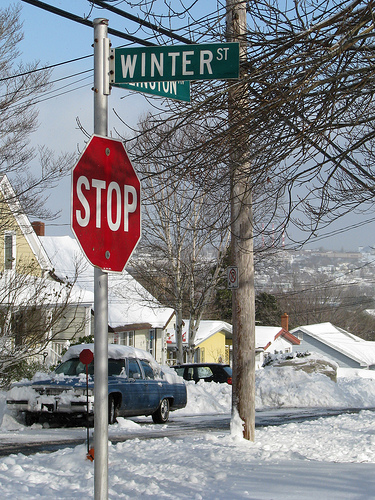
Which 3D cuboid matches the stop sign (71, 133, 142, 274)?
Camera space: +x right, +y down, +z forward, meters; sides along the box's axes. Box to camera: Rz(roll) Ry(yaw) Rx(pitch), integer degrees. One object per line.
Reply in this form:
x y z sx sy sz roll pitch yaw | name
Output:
-0.473 -0.290 4.752 0.153 0.854 0.648 -4 -8 29 | stop sign
